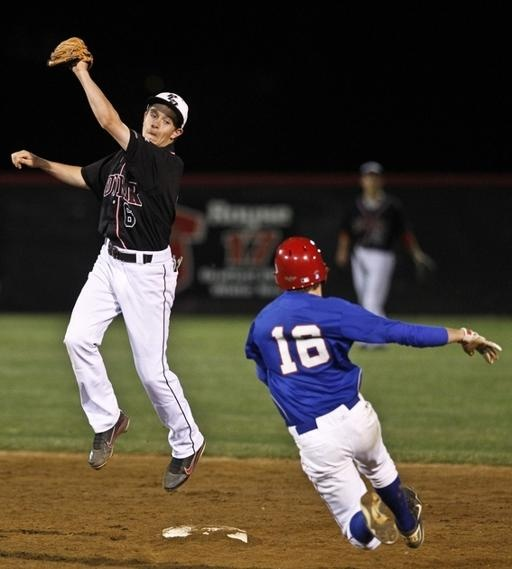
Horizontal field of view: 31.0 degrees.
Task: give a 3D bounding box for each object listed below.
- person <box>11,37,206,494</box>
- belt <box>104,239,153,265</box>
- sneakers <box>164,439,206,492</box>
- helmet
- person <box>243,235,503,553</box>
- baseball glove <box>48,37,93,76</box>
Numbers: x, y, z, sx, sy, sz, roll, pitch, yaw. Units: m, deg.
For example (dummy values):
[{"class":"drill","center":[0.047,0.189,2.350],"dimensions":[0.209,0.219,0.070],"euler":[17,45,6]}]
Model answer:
[{"class":"person","center":[-0.800,-0.075,5.773],"dimensions":[0.948,2.950,0.788],"euler":[0,6,-4]},{"class":"belt","center":[-0.767,-0.197,5.661],"dimensions":[0.277,0.123,0.084],"euler":[0,6,1]},{"class":"sneakers","center":[-0.485,1.150,5.886],"dimensions":[0.146,0.385,0.164],"euler":[20,-17,34]},{"class":"helmet","center":[0.237,-0.104,5.015],"dimensions":[0.254,0.224,0.322],"euler":[-10,-6,4]},{"class":"person","center":[0.509,0.745,4.786],"dimensions":[1.052,1.404,0.464],"euler":[0,6,-1]},{"class":"baseball glove","center":[-1.109,-1.411,5.552],"dimensions":[0.258,0.188,0.230],"euler":[2,6,15]}]
